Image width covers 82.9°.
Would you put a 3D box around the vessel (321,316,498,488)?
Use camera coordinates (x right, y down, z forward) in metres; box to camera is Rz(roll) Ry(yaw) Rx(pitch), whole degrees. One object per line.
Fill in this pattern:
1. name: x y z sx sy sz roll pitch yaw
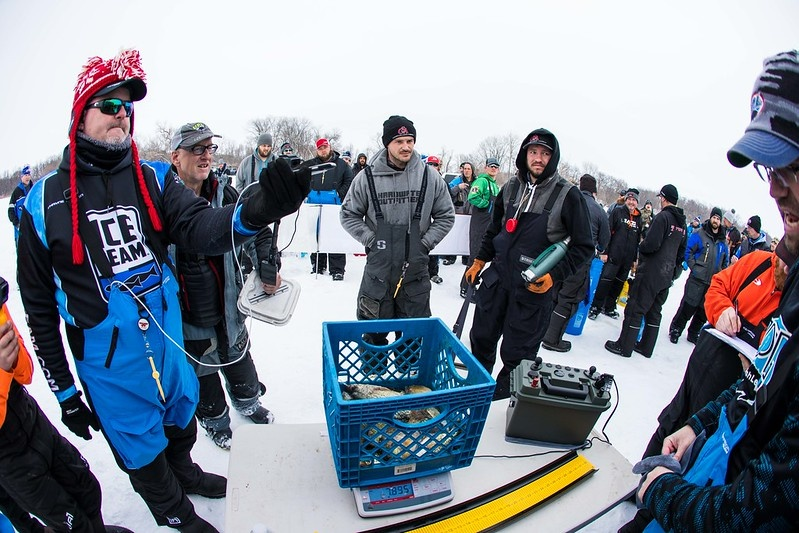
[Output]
1. vessel: -0.026 0.733 2.814 1.142 0.550 1.185 9 25 16

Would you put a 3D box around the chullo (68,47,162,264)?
1. chullo: -1.795 -0.682 2.789 0.493 1.261 0.414 -6 20 -28
